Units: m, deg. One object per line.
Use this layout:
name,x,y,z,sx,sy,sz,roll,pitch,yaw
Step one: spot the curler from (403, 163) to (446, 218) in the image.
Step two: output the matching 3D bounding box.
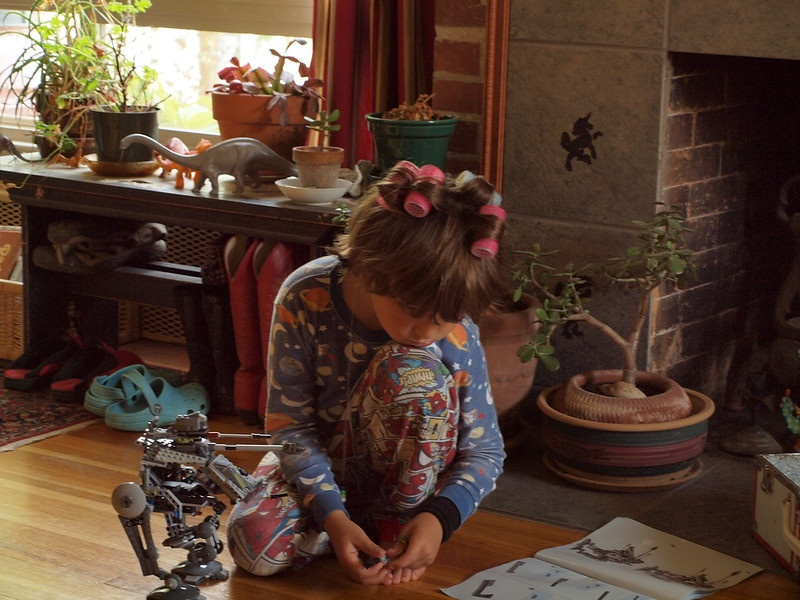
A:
curler,0.044,-0.197,1.261,0.068,0.094,0.133,3,14,0

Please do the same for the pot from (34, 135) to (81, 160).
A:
pot,-1.275,-0.565,2.597,0.186,0.052,0.154,5,7,20

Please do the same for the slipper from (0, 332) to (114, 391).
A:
slipper,-1.133,0.206,2.531,0.220,0.113,0.417,15,23,41

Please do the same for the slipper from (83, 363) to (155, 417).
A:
slipper,-0.883,0.285,2.305,0.150,0.071,0.253,18,28,41

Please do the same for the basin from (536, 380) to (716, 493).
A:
basin,0.618,0.353,1.871,0.411,0.121,0.392,-1,9,0

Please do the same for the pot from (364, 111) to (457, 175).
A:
pot,0.035,-0.462,2.160,0.378,0.166,0.294,3,12,11

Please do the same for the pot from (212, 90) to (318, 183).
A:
pot,-0.487,-0.578,2.382,0.299,0.149,0.303,2,7,0

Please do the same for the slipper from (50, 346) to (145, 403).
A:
slipper,-0.973,0.243,2.482,0.168,0.116,0.407,8,15,34

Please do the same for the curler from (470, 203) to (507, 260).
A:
curler,0.153,-0.120,1.238,0.052,0.093,0.110,5,15,6
